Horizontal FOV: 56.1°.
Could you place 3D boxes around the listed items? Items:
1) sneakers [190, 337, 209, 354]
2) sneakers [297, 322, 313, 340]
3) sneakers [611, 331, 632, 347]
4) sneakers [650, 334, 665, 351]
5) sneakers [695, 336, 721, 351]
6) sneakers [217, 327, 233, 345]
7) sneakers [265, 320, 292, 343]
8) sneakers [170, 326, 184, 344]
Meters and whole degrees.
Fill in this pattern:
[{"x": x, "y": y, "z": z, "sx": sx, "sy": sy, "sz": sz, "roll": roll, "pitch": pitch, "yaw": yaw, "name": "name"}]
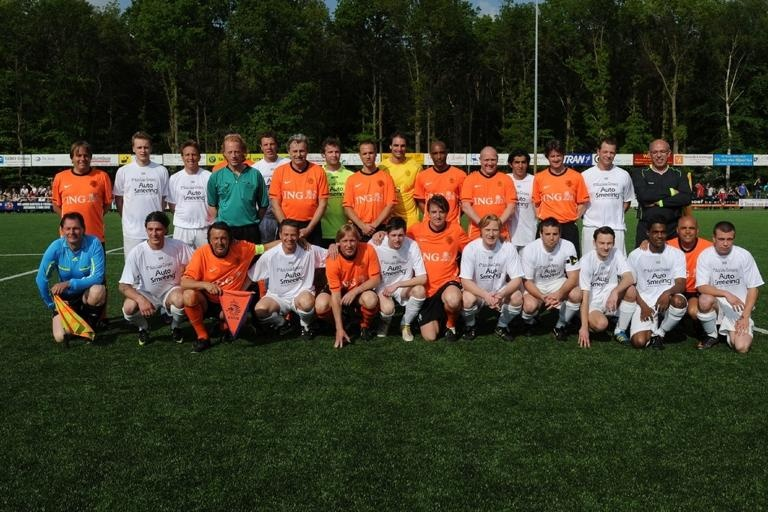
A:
[{"x": -2.389, "y": 1.167, "z": 9.441, "sx": 0.230, "sy": 0.153, "sz": 0.325, "roll": 0, "pitch": 4, "yaw": -9, "name": "sneakers"}, {"x": -1.036, "y": 1.018, "z": 9.810, "sx": 0.167, "sy": 0.199, "sz": 0.204, "roll": 1, "pitch": 4, "yaw": -2, "name": "sneakers"}, {"x": 3.159, "y": 1.075, "z": 9.580, "sx": 0.194, "sy": 0.162, "sz": 0.252, "roll": 2, "pitch": 4, "yaw": 16, "name": "sneakers"}, {"x": 3.540, "y": 1.132, "z": 9.343, "sx": 0.132, "sy": 0.141, "sz": 0.321, "roll": -1, "pitch": -9, "yaw": 18, "name": "sneakers"}, {"x": 4.228, "y": 1.123, "z": 9.349, "sx": 0.357, "sy": 0.152, "sz": 0.130, "roll": -8, "pitch": 3, "yaw": -16, "name": "sneakers"}, {"x": -2.159, "y": 1.083, "z": 9.811, "sx": 0.124, "sy": 0.165, "sz": 0.375, "roll": 3, "pitch": -4, "yaw": -20, "name": "sneakers"}, {"x": -1.446, "y": 1.022, "z": 9.933, "sx": 0.170, "sy": 0.222, "sz": 0.502, "roll": -2, "pitch": 1, "yaw": 2, "name": "sneakers"}, {"x": -2.784, "y": 1.074, "z": 9.705, "sx": 0.154, "sy": 0.216, "sz": 0.432, "roll": 3, "pitch": -9, "yaw": -23, "name": "sneakers"}]
